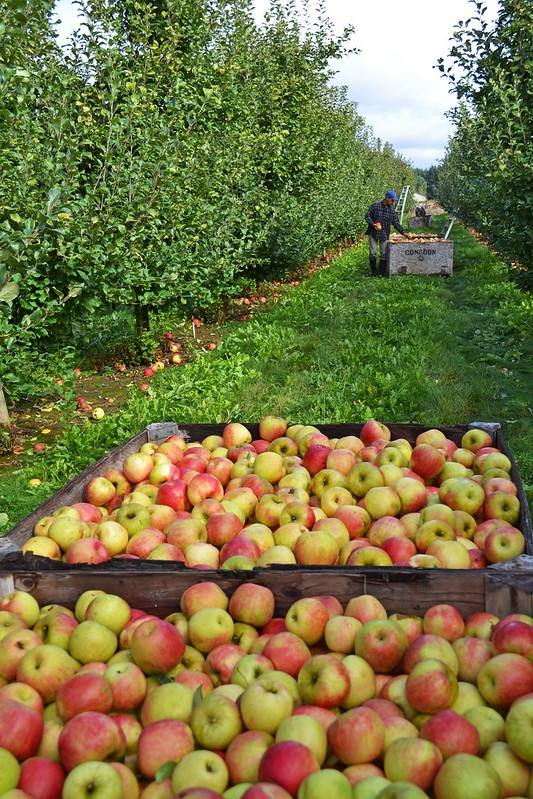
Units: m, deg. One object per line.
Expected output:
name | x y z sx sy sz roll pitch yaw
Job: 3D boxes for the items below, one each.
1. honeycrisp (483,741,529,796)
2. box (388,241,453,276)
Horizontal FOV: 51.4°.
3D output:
honeycrisp | 0.543 0.844 1.279 0.080 0.091 0.091 16 50 33
box | 4.418 -3.974 15.773 1.218 0.682 1.275 2 11 12
